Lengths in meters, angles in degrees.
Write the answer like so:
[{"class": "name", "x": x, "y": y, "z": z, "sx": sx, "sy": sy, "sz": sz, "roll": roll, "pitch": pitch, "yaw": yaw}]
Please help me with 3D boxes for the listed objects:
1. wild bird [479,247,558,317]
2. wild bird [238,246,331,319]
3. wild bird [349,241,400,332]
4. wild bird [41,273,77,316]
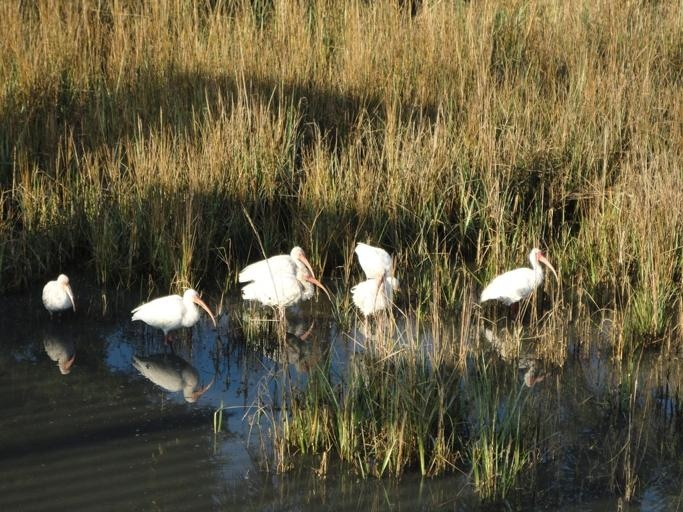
[{"class": "wild bird", "x": 1.796, "y": 0.227, "z": 10.040, "sx": 0.577, "sy": 0.601, "sz": 0.997, "roll": 2, "pitch": 3, "yaw": 45}, {"class": "wild bird", "x": -0.596, "y": 0.208, "z": 10.201, "sx": 0.779, "sy": 0.824, "sz": 0.555, "roll": 14, "pitch": 18, "yaw": -8}, {"class": "wild bird", "x": 0.302, "y": 0.228, "z": 9.835, "sx": 0.527, "sy": 1.040, "sz": 0.476, "roll": -4, "pitch": -5, "yaw": 14}, {"class": "wild bird", "x": -2.766, "y": 0.356, "z": 9.831, "sx": 0.242, "sy": 0.389, "sz": 0.379, "roll": -5, "pitch": 20, "yaw": -39}]
